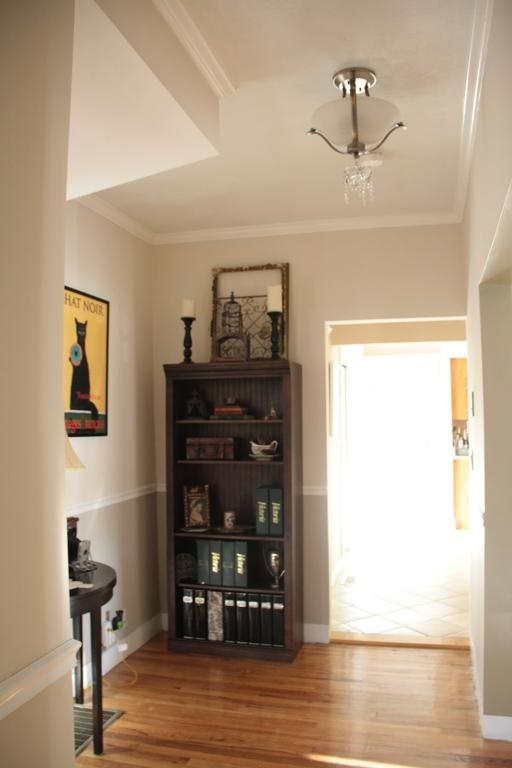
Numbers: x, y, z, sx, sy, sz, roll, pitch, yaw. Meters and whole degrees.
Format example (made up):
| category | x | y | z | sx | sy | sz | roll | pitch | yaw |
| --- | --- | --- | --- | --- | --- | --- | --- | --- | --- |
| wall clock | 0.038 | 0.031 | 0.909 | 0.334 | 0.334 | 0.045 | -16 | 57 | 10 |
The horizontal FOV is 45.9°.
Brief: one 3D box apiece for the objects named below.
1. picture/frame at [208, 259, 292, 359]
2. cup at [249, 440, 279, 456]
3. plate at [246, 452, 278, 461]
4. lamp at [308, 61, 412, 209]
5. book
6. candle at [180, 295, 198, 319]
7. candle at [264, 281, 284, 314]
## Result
| category | x | y | z | sx | sy | sz | roll | pitch | yaw |
| --- | --- | --- | --- | --- | --- | --- | --- | --- | --- |
| picture/frame | -0.052 | -0.461 | 3.987 | 0.506 | 0.016 | 0.736 | -2 | -51 | -2 |
| cup | 0.043 | 0.396 | 3.756 | 0.112 | 0.089 | 0.096 | 0 | -4 | 8 |
| plate | 0.016 | 0.451 | 3.746 | 0.202 | 0.042 | 0.112 | -5 | -5 | 40 |
| lamp | 0.390 | -0.978 | 2.368 | 0.304 | 0.446 | 0.269 | -8 | 8 | -34 |
| book | -0.165 | 1.146 | 3.720 | 0.797 | 1.226 | 0.395 | -2 | -7 | 15 |
| candle | -0.441 | -0.495 | 3.906 | 0.112 | 0.214 | 0.131 | -2 | 0 | -10 |
| candle | 0.107 | -0.521 | 3.683 | 0.078 | 0.170 | 0.060 | -1 | -3 | -6 |
